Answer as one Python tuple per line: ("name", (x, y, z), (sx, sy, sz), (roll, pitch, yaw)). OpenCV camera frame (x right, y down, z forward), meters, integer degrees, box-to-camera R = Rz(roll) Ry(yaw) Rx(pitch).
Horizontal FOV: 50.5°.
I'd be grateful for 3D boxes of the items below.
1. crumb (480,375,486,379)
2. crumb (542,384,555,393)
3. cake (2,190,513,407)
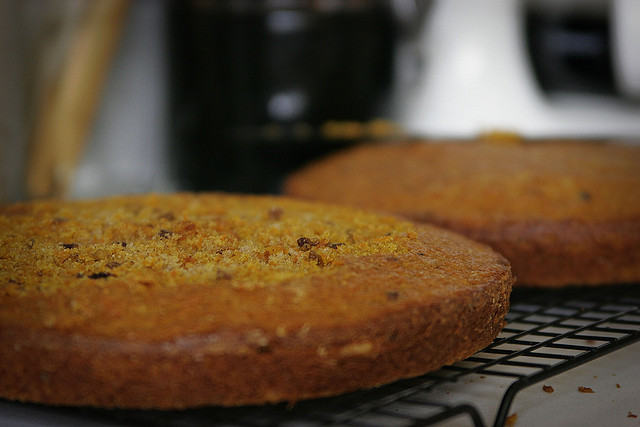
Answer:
("crumb", (0.273, 0.274, 1.137), (0.008, 0.002, 0.007), (-6, 12, 9))
("crumb", (0.389, 0.298, 1.155), (0.019, 0.003, 0.016), (-3, 33, -11))
("cake", (-0.133, 0.086, 1.027), (0.626, 0.084, 0.400), (5, 14, 16))
